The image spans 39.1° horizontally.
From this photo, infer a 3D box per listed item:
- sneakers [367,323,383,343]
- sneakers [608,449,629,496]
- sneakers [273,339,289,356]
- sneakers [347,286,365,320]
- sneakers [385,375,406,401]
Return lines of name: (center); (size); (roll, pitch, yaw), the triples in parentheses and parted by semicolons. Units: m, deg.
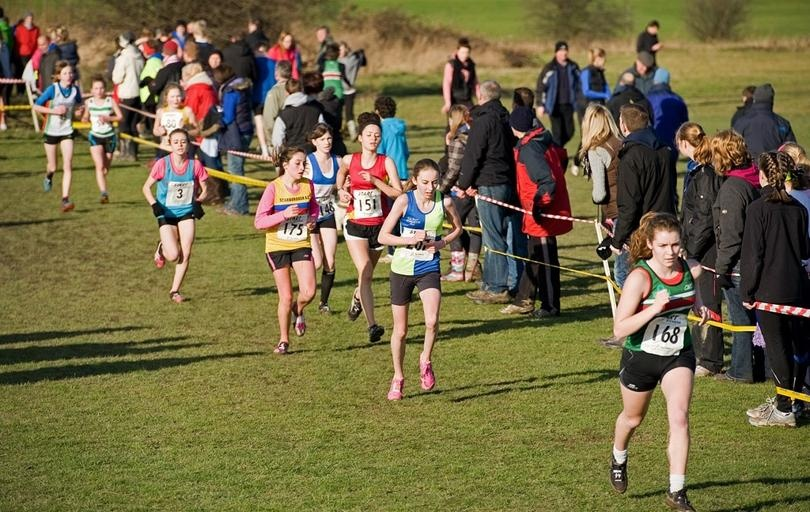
sneakers: (-0.454, 1.192, 17.331); (0.156, 0.389, 0.194); (-3, 49, -32)
sneakers: (2.756, 2.794, 14.778); (0.200, 0.568, 0.219); (0, -9, 8)
sneakers: (-1.892, 1.407, 17.629); (0.265, 0.176, 0.146); (5, 0, 6)
sneakers: (-0.825, 0.802, 18.418); (0.277, 0.627, 0.208); (16, 9, 39)
sneakers: (-0.146, 1.891, 16.523); (0.229, 0.337, 0.292); (-1, 10, 0)
